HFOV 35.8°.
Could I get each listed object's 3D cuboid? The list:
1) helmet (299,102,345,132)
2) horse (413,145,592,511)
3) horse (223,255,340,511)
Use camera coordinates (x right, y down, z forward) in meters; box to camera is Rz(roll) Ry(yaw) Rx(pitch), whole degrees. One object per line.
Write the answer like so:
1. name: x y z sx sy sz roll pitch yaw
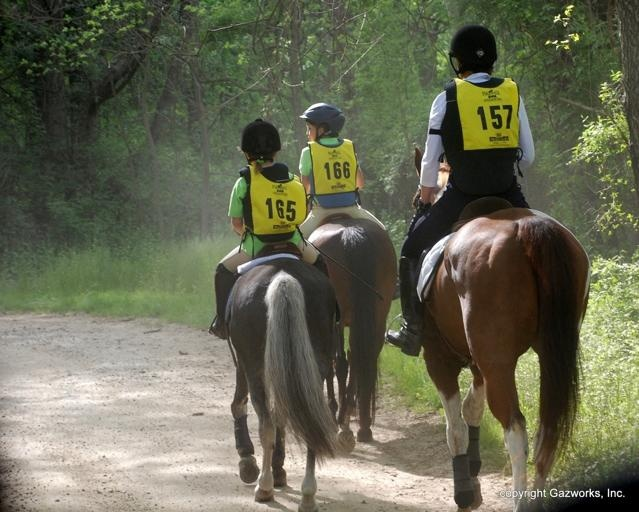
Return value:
1. helmet: 0.066 -2.172 15.878 0.594 0.363 0.436 -10 19 -6
2. horse: 2.265 1.116 12.622 1.429 4.201 4.673 1 -7 -7
3. horse: -0.475 1.670 13.009 1.791 3.151 0.862 10 10 35
